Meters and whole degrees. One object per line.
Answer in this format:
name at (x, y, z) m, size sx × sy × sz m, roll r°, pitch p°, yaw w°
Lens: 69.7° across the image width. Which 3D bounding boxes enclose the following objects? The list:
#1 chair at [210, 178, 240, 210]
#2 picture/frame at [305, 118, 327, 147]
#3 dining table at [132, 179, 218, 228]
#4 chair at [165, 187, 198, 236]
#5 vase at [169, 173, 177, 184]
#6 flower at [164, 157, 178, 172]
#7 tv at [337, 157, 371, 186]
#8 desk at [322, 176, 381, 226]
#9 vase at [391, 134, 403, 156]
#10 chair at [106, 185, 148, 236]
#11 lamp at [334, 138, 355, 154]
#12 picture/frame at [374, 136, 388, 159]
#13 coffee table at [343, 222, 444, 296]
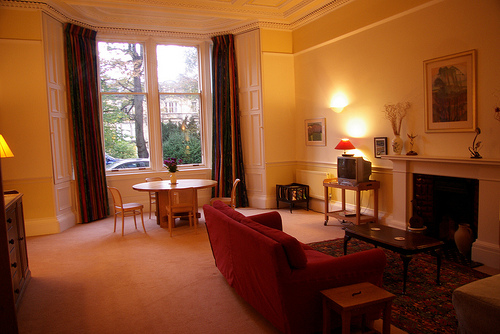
chair at (-0.577, 0.701, 8.240) m, size 0.687 × 0.842 × 0.530 m, roll 1°, pitch 2°, yaw -11°
picture/frame at (1.617, -0.855, 8.774) m, size 0.034 × 0.710 × 0.740 m, roll -5°, pitch 8°, yaw -30°
dining table at (-1.728, 0.882, 8.218) m, size 1.749 × 0.813 × 1.684 m, roll -2°, pitch -6°, yaw -28°
chair at (-1.492, 0.940, 7.696) m, size 0.722 × 0.984 × 0.737 m, roll -3°, pitch 2°, yaw -40°
vase at (-1.696, 0.242, 7.957) m, size 0.153 × 0.243 × 0.386 m, roll -3°, pitch 6°, yaw -12°
flower at (-1.760, -0.033, 8.045) m, size 0.228 × 0.314 × 0.459 m, roll -2°, pitch 6°, yaw -4°
tv at (2.126, 0.059, 7.534) m, size 0.579 × 0.704 × 0.790 m, roll -2°, pitch 2°, yaw -21°
desk at (2.132, 0.778, 7.642) m, size 0.650 × 0.990 × 1.153 m, roll -3°, pitch 3°, yaw -25°
vase at (2.796, -0.417, 6.814) m, size 0.192 × 0.371 × 0.354 m, roll 1°, pitch 7°, yaw 22°
chair at (-2.626, 0.938, 7.702) m, size 0.694 × 0.908 × 0.599 m, roll -1°, pitch 1°, yaw -39°
lamp at (2.028, -0.429, 7.729) m, size 0.407 × 0.351 × 0.361 m, roll -3°, pitch 2°, yaw -34°
picture/frame at (2.625, -0.396, 7.189) m, size 0.067 × 0.598 × 0.465 m, roll -3°, pitch 4°, yaw -28°
coffee table at (2.404, 1.469, 5.693) m, size 1.475 × 0.608 × 0.894 m, roll 10°, pitch -3°, yaw -40°
